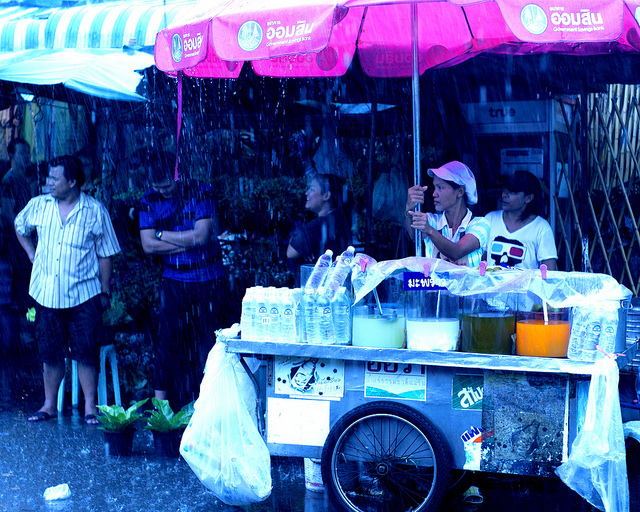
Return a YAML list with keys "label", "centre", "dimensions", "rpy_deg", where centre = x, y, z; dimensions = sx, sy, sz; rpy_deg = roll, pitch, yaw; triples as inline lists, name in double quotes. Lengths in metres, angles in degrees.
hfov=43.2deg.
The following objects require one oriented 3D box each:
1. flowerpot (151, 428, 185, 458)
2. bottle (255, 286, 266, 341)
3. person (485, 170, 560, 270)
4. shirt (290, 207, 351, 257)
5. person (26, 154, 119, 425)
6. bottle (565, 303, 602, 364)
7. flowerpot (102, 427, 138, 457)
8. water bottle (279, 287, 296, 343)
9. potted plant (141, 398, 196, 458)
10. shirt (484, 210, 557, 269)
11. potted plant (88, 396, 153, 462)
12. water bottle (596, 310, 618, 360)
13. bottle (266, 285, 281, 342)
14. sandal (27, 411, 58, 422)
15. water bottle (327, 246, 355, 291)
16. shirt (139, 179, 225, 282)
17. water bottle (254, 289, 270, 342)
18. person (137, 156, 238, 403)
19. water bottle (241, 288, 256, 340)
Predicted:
- label: "flowerpot"
  centre: [-1.256, 1.512, 6.752]
  dimensions: [0.208, 0.224, 0.252]
  rpy_deg: [4, -7, 14]
- label: "bottle"
  centre: [-0.402, 0.398, 5.549]
  dimensions: [0.085, 0.337, 0.068]
  rpy_deg: [-2, 6, 10]
- label: "person"
  centre: [1.812, -0.314, 7.143]
  dimensions: [0.338, 1.306, 0.757]
  rpy_deg: [1, 2, -35]
- label: "shirt"
  centre: [0.005, -0.390, 6.992]
  dimensions: [0.504, 0.584, 0.327]
  rpy_deg: [-4, 19, -18]
- label: "person"
  centre: [-2.304, 0.294, 7.527]
  dimensions: [0.784, 2.415, 0.412]
  rpy_deg: [-2, 6, 4]
- label: "bottle"
  centre: [1.671, 0.493, 5.107]
  dimensions: [0.165, 0.552, 0.198]
  rpy_deg: [9, -4, 9]
- label: "flowerpot"
  centre: [-1.664, 1.541, 6.720]
  dimensions: [0.168, 0.181, 0.198]
  rpy_deg: [2, -3, 21]
- label: "water bottle"
  centre: [-0.226, 0.403, 5.512]
  dimensions: [0.104, 0.348, 0.144]
  rpy_deg: [-8, 8, -40]
- label: "potted plant"
  centre: [-1.271, 1.404, 6.847]
  dimensions: [0.463, 0.488, 0.509]
  rpy_deg: [1, 1, -40]
- label: "shirt"
  centre: [1.705, -0.103, 6.880]
  dimensions: [0.680, 0.707, 0.378]
  rpy_deg: [5, 3, 30]
- label: "potted plant"
  centre: [-1.756, 1.459, 6.919]
  dimensions: [0.466, 0.449, 0.498]
  rpy_deg: [-1, -2, 10]
- label: "water bottle"
  centre: [1.803, 0.471, 5.076]
  dimensions: [0.130, 0.259, 0.049]
  rpy_deg: [-7, 7, -30]
- label: "bottle"
  centre: [-0.307, 0.394, 5.543]
  dimensions: [0.102, 0.351, 0.123]
  rpy_deg: [-3, 6, 1]
- label: "sandal"
  centre: [-2.594, 1.481, 7.610]
  dimensions: [0.231, 0.080, 0.095]
  rpy_deg: [6, -7, -35]
- label: "water bottle"
  centre: [0.152, 0.079, 5.507]
  dimensions: [0.121, 0.270, 0.279]
  rpy_deg: [0, 8, 25]
- label: "shirt"
  centre: [-1.262, -0.197, 7.325]
  dimensions: [0.541, 0.937, 0.491]
  rpy_deg: [-12, 21, -9]
- label: "water bottle"
  centre: [-0.382, 0.454, 5.575]
  dimensions: [0.101, 0.440, 0.118]
  rpy_deg: [0, -23, 1]
- label: "person"
  centre: [-1.202, 0.296, 7.417]
  dimensions: [0.769, 2.208, 0.505]
  rpy_deg: [-4, 6, -11]
- label: "water bottle"
  centre: [-0.490, 0.395, 5.594]
  dimensions: [0.120, 0.339, 0.117]
  rpy_deg: [-3, 6, 0]
